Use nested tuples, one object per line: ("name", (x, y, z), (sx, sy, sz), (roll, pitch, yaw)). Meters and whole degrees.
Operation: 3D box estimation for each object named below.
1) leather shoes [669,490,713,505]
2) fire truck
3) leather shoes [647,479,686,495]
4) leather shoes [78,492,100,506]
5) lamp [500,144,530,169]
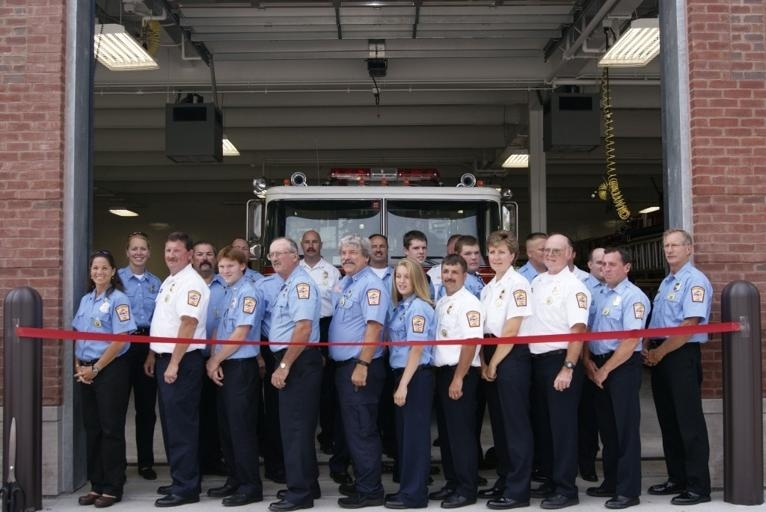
("leather shoes", (3.229, 2.517, 11.600), (0.416, 0.123, 0.152), (2, -11, -2))
("fire truck", (-0.010, -0.446, 14.588), (3.259, 1.066, 4.216), (0, -2, -1))
("leather shoes", (3.037, 2.476, 11.899), (0.425, 0.141, 0.133), (1, -8, 5))
("leather shoes", (-3.106, 2.548, 11.682), (0.106, 0.088, 0.247), (-4, -12, 26))
("lamp", (2.352, -1.736, 19.374), (0.501, 0.117, 0.373), (6, -42, 14))
